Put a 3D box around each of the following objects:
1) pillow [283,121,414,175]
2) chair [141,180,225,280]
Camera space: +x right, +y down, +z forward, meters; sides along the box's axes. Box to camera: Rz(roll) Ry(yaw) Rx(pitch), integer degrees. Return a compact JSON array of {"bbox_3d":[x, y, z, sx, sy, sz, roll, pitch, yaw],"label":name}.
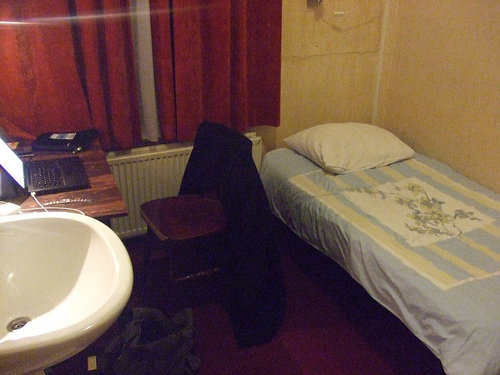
[{"bbox_3d":[0.720,-0.271,2.661,0.572,0.180,0.436,-3,26,-26],"label":"pillow"},{"bbox_3d":[-0.359,0.245,2.142,0.311,0.488,0.290,-16,51,-36],"label":"chair"}]
